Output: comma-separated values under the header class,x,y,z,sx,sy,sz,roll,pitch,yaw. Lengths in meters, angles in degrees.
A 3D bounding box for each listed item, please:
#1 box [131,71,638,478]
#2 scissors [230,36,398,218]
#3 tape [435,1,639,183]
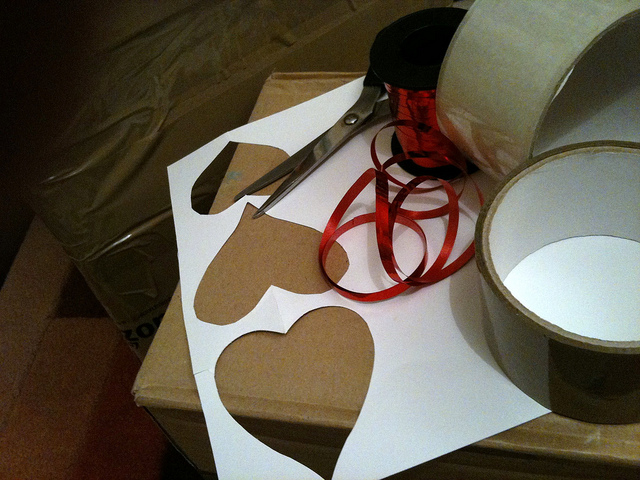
class,x,y,z,sx,sy,sz,roll,pitch,yaw
box,-0.007,0.108,0.816,0.448,0.325,0.707,-8,49,4
scissors,0.025,-0.119,0.801,0.339,0.040,0.110,-44,63,-8
tape,0.194,-0.174,0.634,0.144,0.170,0.264,16,43,15
